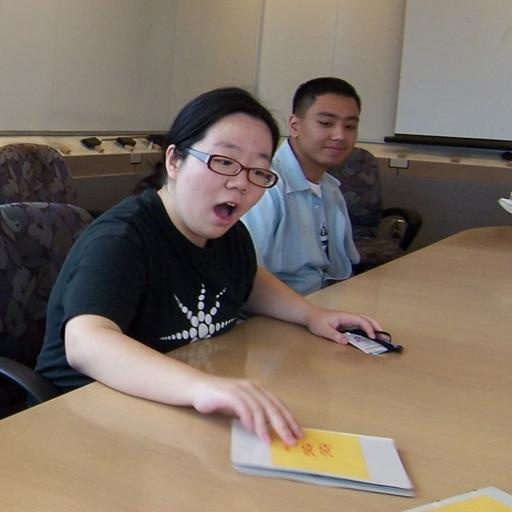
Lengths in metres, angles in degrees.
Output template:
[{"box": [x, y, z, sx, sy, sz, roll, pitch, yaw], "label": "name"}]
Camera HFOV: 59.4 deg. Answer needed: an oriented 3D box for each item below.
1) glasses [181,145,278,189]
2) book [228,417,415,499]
[{"box": [-0.041, -0.184, 0.832, 0.104, 0.025, 0.102, 12, 12, -43], "label": "glasses"}, {"box": [0.068, 0.230, 0.506, 0.179, 0.017, 0.124, 6, 10, 3], "label": "book"}]
